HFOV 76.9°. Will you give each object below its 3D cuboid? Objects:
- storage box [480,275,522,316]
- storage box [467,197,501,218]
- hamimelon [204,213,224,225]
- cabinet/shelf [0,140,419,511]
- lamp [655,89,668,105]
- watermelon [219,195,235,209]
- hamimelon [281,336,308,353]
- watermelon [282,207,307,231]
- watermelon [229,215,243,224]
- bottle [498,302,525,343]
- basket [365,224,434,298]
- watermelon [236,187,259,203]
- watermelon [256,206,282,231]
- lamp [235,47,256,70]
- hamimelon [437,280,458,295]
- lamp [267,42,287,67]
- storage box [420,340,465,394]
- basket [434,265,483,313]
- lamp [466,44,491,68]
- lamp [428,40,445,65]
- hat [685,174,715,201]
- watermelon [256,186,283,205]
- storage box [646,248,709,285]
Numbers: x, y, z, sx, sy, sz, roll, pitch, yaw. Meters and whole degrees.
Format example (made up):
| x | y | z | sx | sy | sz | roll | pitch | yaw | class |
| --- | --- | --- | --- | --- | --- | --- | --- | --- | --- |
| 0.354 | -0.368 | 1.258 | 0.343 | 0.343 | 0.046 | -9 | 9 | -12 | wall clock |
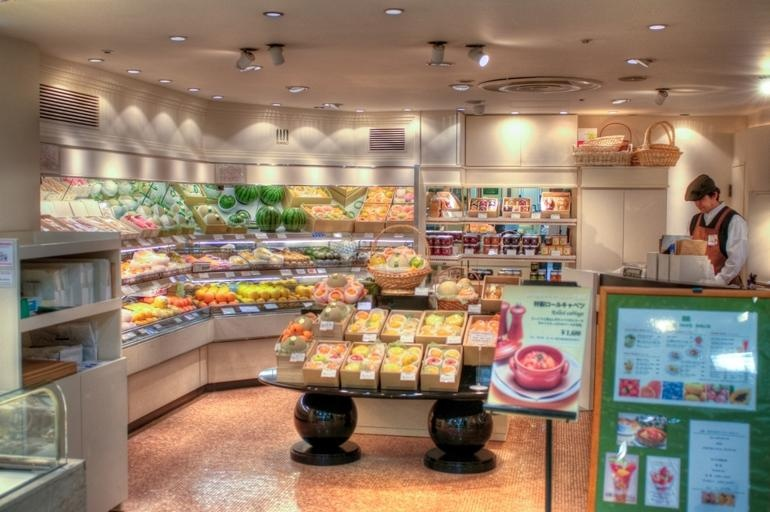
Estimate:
| x | y | z | sx | sy | sz | roll | pitch | yaw | class |
| --- | --- | --- | --- | --- | --- | --- | --- | --- | --- |
| 1.106 | 0.373 | 4.828 | 0.449 | 0.160 | 0.589 | 1 | 21 | 17 | storage box |
| 1.615 | -0.786 | 7.928 | 0.434 | 0.350 | 0.162 | 3 | -24 | 8 | storage box |
| -2.481 | -0.524 | 7.005 | 0.203 | 0.089 | 0.184 | 0 | -2 | -13 | hamimelon |
| -1.814 | 0.673 | 4.907 | 2.237 | 2.860 | 4.272 | 0 | 2 | 31 | cabinet/shelf |
| 3.662 | -2.113 | 6.438 | 0.140 | 0.121 | 0.251 | 8 | 18 | 31 | lamp |
| -2.429 | -0.823 | 7.436 | 0.228 | 0.187 | 0.112 | -1 | 4 | -18 | watermelon |
| -0.795 | 0.741 | 4.183 | 0.174 | 0.081 | 0.157 | -2 | 9 | -18 | hamimelon |
| -1.441 | -0.576 | 7.673 | 0.406 | 0.322 | 0.376 | 0 | 2 | 14 | watermelon |
| -2.269 | -0.551 | 7.385 | 0.148 | 0.055 | 0.150 | 12 | 17 | 39 | watermelon |
| 0.654 | 0.342 | 2.496 | 0.139 | 0.194 | 0.055 | -1 | 6 | 9 | bottle |
| 0.140 | 0.068 | 5.032 | 0.613 | 0.578 | 0.619 | 6 | 18 | 34 | basket |
| -2.148 | -0.947 | 7.531 | 0.308 | 0.252 | 0.278 | 0 | 2 | -13 | watermelon |
| -1.822 | -0.573 | 7.564 | 0.432 | 0.347 | 0.392 | 1 | 1 | 2 | watermelon |
| -1.388 | -1.949 | 4.847 | 0.179 | 0.165 | 0.261 | -3 | 5 | -12 | lamp |
| 0.601 | 0.314 | 4.709 | 0.217 | 0.141 | 0.187 | 0 | 6 | 19 | hamimelon |
| -1.041 | -1.946 | 4.692 | 0.198 | 0.167 | 0.162 | -3 | -31 | -8 | lamp |
| 0.466 | 0.908 | 3.995 | 0.346 | 0.324 | 0.347 | -1 | 5 | 7 | storage box |
| 0.706 | 0.331 | 4.831 | 0.502 | 0.367 | 0.460 | 1 | 1 | 5 | basket |
| 0.910 | -1.932 | 4.762 | 0.189 | 0.191 | 0.330 | -1 | 5 | 11 | lamp |
| 0.501 | -1.945 | 4.674 | 0.168 | 0.167 | 0.151 | 0 | 5 | -5 | lamp |
| 3.827 | -0.828 | 5.831 | 0.434 | 0.192 | 0.306 | -16 | 3 | -37 | hat |
| -1.813 | -0.946 | 7.663 | 0.349 | 0.258 | 0.333 | 4 | 7 | 25 | watermelon |
| 2.557 | 0.102 | 4.266 | 0.456 | 0.178 | 0.317 | 2 | 3 | 38 | storage box |
